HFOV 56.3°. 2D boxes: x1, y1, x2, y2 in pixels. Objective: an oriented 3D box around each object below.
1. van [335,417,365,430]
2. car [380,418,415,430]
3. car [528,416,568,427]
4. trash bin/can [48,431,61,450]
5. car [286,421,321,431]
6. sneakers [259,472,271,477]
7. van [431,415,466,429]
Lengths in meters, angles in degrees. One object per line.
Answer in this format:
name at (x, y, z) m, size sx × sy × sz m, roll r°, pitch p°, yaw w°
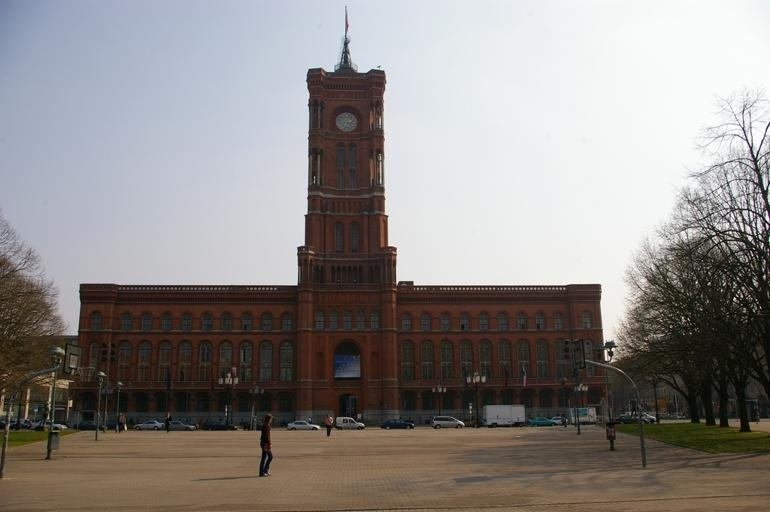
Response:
van at (-4.479, 20.863, 89.681) m, size 2.898 × 1.137 × 1.628 m, roll -2°, pitch -10°, yaw 1°
car at (1.585, 21.055, 90.159) m, size 3.474 × 1.004 × 1.578 m, roll -2°, pitch -10°, yaw 4°
car at (20.809, 21.443, 91.946) m, size 4.677 × 1.361 × 1.889 m, roll -3°, pitch -10°, yaw 3°
trash bin/can at (-21.466, 11.878, 46.611) m, size 0.556 × 1.076 × 1.324 m, roll 6°, pitch -19°, yaw -26°
car at (-10.250, 20.739, 88.732) m, size 3.312 × 1.264 × 3.697 m, roll 2°, pitch -17°, yaw -15°
sneakers at (-6.642, 12.018, 39.647) m, size 0.583 × 0.233 × 0.195 m, roll -5°, pitch -5°, yaw 15°
van at (7.757, 20.937, 90.633) m, size 3.120 × 1.078 × 1.754 m, roll -2°, pitch -13°, yaw 5°
